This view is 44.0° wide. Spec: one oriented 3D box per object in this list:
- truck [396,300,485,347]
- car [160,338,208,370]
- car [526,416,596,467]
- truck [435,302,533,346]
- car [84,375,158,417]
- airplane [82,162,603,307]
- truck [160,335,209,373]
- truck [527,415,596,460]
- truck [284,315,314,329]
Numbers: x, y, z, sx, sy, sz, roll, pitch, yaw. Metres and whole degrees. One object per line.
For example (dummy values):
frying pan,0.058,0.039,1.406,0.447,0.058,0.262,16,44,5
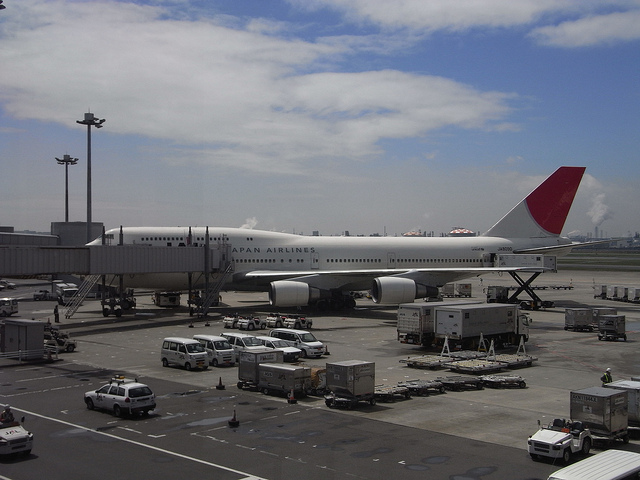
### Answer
truck,9.211,6.366,58.418,5.486,3.405,8.903,5,-2,23
car,-8.476,6.976,48.559,2.048,1.409,4.661,1,-1,-42
car,10.850,8.956,35.469,3.078,1.473,1.710,-7,12,-42
truck,11.385,5.870,55.119,7.436,3.195,3.378,-6,11,-39
car,-10.269,7.856,40.516,3.894,1.171,1.962,0,1,36
airplane,3.674,0.158,76.645,50.549,8.240,30.166,-6,9,-14
truck,-8.700,6.969,48.801,3.734,1.606,2.875,-2,-3,44
truck,10.872,8.886,35.682,1.894,1.022,3.145,8,8,40
truck,-1.784,6.412,61.477,1.375,0.913,1.640,8,12,44
